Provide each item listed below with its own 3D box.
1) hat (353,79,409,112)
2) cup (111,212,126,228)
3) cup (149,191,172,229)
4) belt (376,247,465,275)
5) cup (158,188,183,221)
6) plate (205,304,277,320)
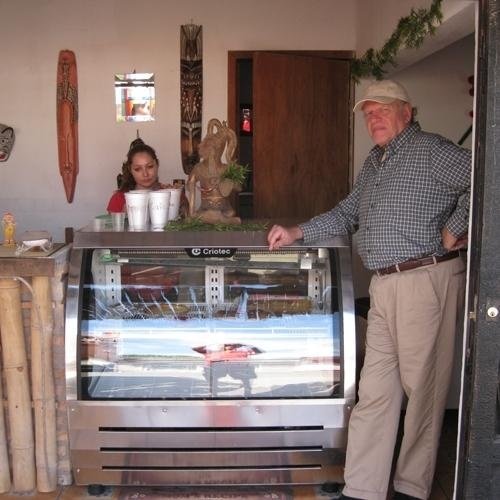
[{"bbox_3d":[0.590,-0.667,2.204,0.147,0.093,0.198,-3,-4,44],"label":"hat"},{"bbox_3d":[-0.567,-0.130,2.209,0.065,0.048,0.065,0,-6,0],"label":"cup"},{"bbox_3d":[-0.373,-0.166,2.142,0.089,0.166,0.150,-4,5,-10],"label":"cup"},{"bbox_3d":[0.693,0.056,2.120,0.338,0.102,0.123,-2,5,14],"label":"belt"},{"bbox_3d":[-0.341,-0.209,2.252,0.127,0.132,0.123,0,4,0],"label":"cup"},{"bbox_3d":[-0.028,0.271,2.223,0.301,0.061,0.018,-3,5,-4],"label":"plate"}]
